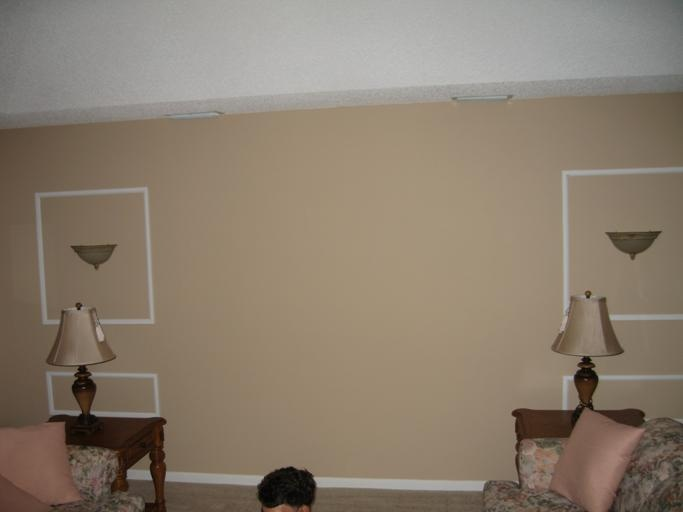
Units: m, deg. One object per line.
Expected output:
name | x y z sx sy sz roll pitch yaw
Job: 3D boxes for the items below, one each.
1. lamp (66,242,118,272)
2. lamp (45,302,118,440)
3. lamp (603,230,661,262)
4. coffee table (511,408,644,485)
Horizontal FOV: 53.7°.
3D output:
lamp | -2.093 -0.003 5.868 0.280 0.173 0.237 -1 2 10
lamp | -2.088 0.854 5.276 0.579 0.988 0.451 2 2 45
lamp | 2.318 -0.054 5.355 0.295 0.164 0.275 0 -3 -2
coffee table | 1.793 1.397 5.111 0.719 0.281 0.639 -8 38 28
